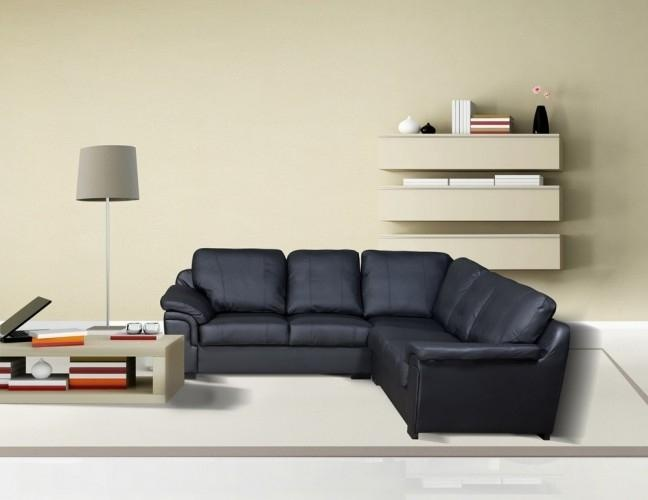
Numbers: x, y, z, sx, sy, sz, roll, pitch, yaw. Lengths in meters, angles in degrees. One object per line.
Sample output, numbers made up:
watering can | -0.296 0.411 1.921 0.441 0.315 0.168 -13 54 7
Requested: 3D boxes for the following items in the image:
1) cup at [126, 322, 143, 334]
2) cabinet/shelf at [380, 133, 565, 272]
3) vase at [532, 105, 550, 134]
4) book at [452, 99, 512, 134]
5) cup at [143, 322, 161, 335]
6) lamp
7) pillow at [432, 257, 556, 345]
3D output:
cup | -1.226 0.505 4.055 0.065 0.044 0.088 1 7 -6
cabinet/shelf | 1.385 -0.477 5.829 1.302 0.979 0.456 0 -5 2
vase | 2.068 -1.245 5.984 0.144 0.273 0.162 1 6 18
book | 1.477 -1.253 5.908 0.530 0.320 0.085 0 6 6
cup | -1.101 0.497 4.017 0.094 0.065 0.077 -1 -2 -4
lamp | -1.893 -0.074 5.660 0.555 1.642 1.447 -3 6 -20
pillow | 0.929 0.322 4.185 0.309 0.393 1.543 5 6 -17
